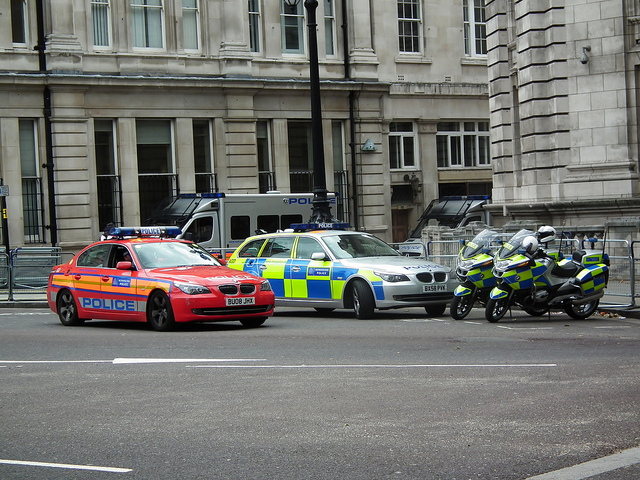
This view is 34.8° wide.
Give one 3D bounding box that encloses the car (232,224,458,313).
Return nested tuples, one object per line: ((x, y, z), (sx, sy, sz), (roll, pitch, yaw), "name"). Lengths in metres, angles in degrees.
((0.496, 0.613, 19.666), (1.929, 1.058, 3.612), (1, 0, -45), "car")

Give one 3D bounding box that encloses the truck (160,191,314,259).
((-2.553, -0.180, 30.159), (1.745, 2.620, 5.852), (-4, -3, 40), "truck")

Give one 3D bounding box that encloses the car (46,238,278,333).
((-3.008, 0.821, 18.517), (3.977, 1.224, 1.738), (-2, -3, 41), "car")

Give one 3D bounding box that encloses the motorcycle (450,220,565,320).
((3.952, 0.620, 19.039), (1.195, 1.660, 3.166), (4, 4, 40), "motorcycle")

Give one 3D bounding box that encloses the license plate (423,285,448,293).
((2.117, 0.883, 18.646), (0.579, 0.188, 0.024), (-6, 9, -32), "license plate")

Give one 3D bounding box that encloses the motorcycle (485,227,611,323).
((4.005, 0.546, 17.698), (2.628, 1.508, 0.741), (-1, 1, -9), "motorcycle")
